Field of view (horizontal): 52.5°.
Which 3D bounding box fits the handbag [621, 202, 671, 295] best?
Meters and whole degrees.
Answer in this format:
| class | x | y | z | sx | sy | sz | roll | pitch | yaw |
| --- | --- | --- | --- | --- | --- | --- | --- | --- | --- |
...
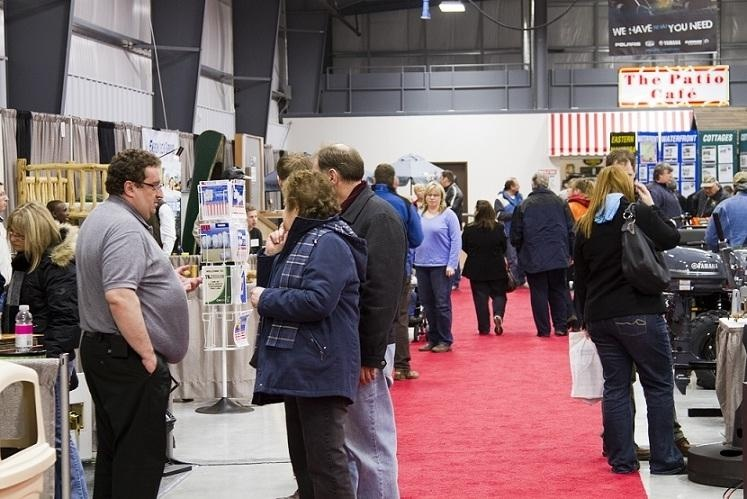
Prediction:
| class | x | y | z | sx | sy | sz | roll | pitch | yaw |
| --- | --- | --- | --- | --- | --- | --- | --- | --- | --- |
| handbag | 1.776 | -0.006 | 4.986 | 0.171 | 0.533 | 0.430 | -21 | -35 | 33 |
